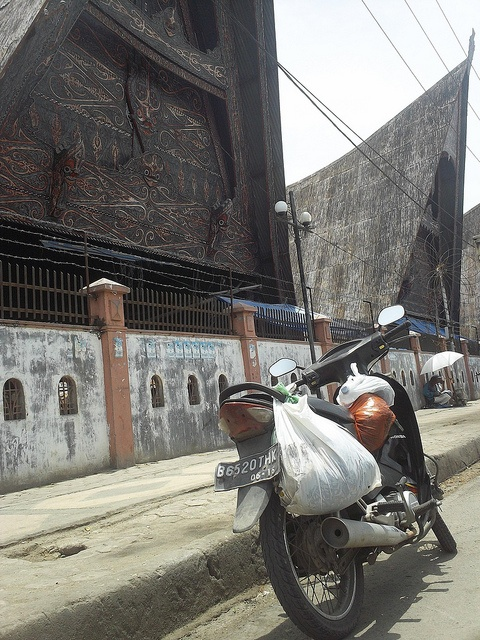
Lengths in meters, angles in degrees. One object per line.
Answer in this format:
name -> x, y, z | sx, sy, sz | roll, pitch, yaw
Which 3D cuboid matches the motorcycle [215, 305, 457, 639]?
motorcycle -> 0.457, 0.717, 2.099 | 0.520, 1.306, 1.513 | -14, -9, 37
